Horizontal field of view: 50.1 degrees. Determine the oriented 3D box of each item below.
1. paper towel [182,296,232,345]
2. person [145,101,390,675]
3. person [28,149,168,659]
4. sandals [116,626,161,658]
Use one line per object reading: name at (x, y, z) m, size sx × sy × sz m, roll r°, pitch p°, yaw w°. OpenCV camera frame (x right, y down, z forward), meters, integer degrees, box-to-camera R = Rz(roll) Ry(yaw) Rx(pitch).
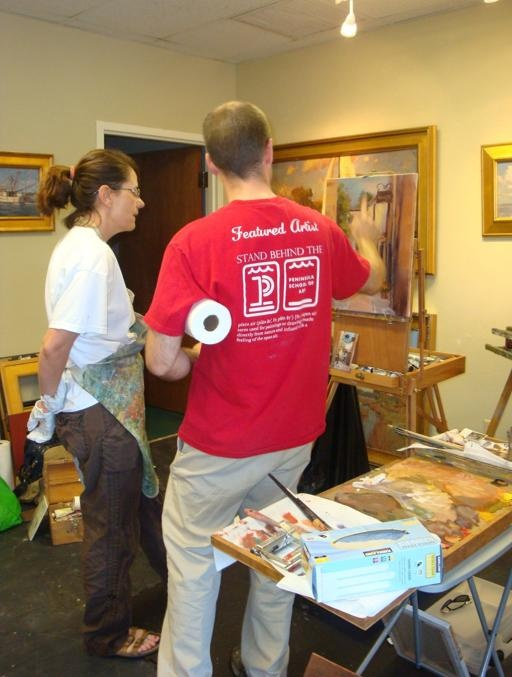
paper towel at (-0.100, -0.035, 1.081) m, size 0.095 × 0.084 × 0.079 m, roll 6°, pitch 8°, yaw 4°
person at (-0.038, 0.113, 1.428) m, size 0.608 × 1.342 × 0.550 m, roll 2°, pitch 5°, yaw 35°
person at (-0.593, 0.202, 1.921) m, size 0.602 × 1.513 × 0.547 m, roll 2°, pitch 5°, yaw 27°
sandals at (-0.403, 1.046, 1.891) m, size 0.124 × 0.035 × 0.070 m, roll -1°, pitch 13°, yaw 7°
